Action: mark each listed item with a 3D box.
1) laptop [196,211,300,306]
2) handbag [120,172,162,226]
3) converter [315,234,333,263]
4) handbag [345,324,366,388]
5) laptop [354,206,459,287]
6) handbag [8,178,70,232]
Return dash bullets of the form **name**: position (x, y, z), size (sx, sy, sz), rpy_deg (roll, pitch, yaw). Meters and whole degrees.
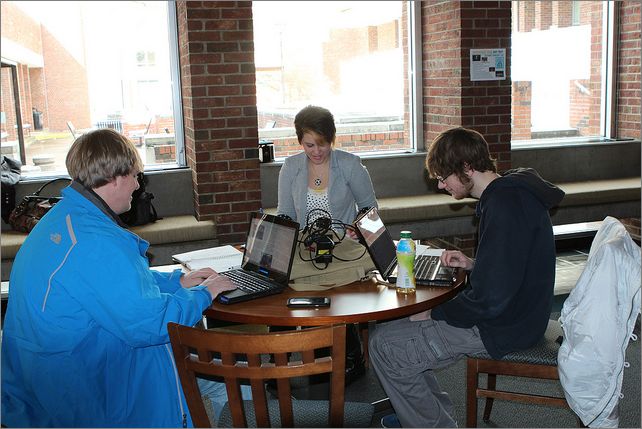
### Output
- **laptop**: position (-0.322, 0.227, 2.539), size (0.513, 0.434, 0.367), rpy_deg (15, 9, 42)
- **handbag**: position (-1.878, -0.153, 4.713), size (0.360, 0.606, 0.510), rpy_deg (-13, -1, -29)
- **converter**: position (0.023, 0.212, 2.642), size (0.121, 0.152, 0.101), rpy_deg (6, -26, -15)
- **handbag**: position (0.230, 0.979, 3.436), size (0.177, 0.387, 0.406), rpy_deg (0, 0, 12)
- **laptop**: position (0.490, 0.166, 2.608), size (0.506, 0.295, 0.523), rpy_deg (1, 10, 14)
- **handbag**: position (-2.230, -0.076, 3.642), size (0.287, 0.169, 0.472), rpy_deg (2, 45, 35)
